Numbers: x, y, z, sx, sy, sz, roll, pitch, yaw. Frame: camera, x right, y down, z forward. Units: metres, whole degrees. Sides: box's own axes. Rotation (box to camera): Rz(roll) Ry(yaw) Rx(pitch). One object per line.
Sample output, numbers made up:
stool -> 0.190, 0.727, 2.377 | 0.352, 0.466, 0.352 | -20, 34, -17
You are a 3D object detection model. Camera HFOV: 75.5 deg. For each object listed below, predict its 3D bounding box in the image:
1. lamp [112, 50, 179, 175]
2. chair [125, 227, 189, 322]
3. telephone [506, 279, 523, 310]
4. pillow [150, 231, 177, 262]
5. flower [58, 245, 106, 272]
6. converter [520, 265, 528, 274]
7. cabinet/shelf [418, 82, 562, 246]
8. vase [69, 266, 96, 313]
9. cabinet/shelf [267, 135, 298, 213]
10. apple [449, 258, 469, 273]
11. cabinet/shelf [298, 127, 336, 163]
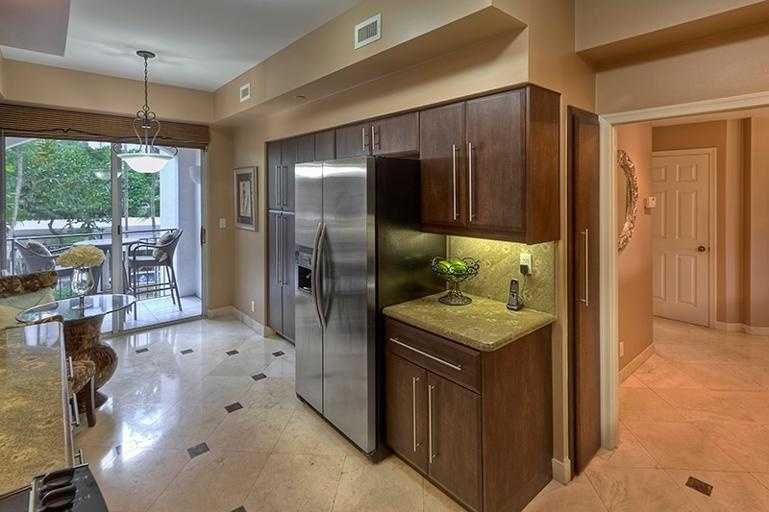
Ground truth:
lamp -> -2.593, -1.569, 5.363 | 0.820, 1.250, 0.831 | 15, 16, 35
chair -> -3.301, 0.187, 7.039 | 0.786, 1.097, 0.794 | 5, 7, 34
telephone -> 1.065, 0.307, 4.023 | 0.125, 0.238, 0.107 | 0, 6, 5
pillow -> -3.041, -0.163, 6.919 | 0.223, 0.408, 0.421 | 2, 7, 22
flower -> -2.812, 0.011, 4.641 | 0.254, 0.191, 0.367 | 10, 15, 30
converter -> 1.126, 0.102, 3.993 | 0.060, 0.110, 0.064 | 1, 5, 13
cabinet/shelf -> 0.555, -0.708, 4.063 | 1.111, 1.046, 0.558 | -7, 9, -28
vase -> -2.870, 0.278, 4.678 | 0.168, 0.395, 0.365 | -4, 7, -32
cabinet/shelf -> -1.305, -0.906, 5.927 | 0.455, 0.648, 0.303 | 6, -6, -35
apple -> 0.625, 0.080, 4.144 | 0.145, 0.098, 0.148 | 0, 6, 5
cabinet/shelf -> -0.782, -1.220, 5.332 | 0.438, 0.349, 0.156 | -16, 33, -35
